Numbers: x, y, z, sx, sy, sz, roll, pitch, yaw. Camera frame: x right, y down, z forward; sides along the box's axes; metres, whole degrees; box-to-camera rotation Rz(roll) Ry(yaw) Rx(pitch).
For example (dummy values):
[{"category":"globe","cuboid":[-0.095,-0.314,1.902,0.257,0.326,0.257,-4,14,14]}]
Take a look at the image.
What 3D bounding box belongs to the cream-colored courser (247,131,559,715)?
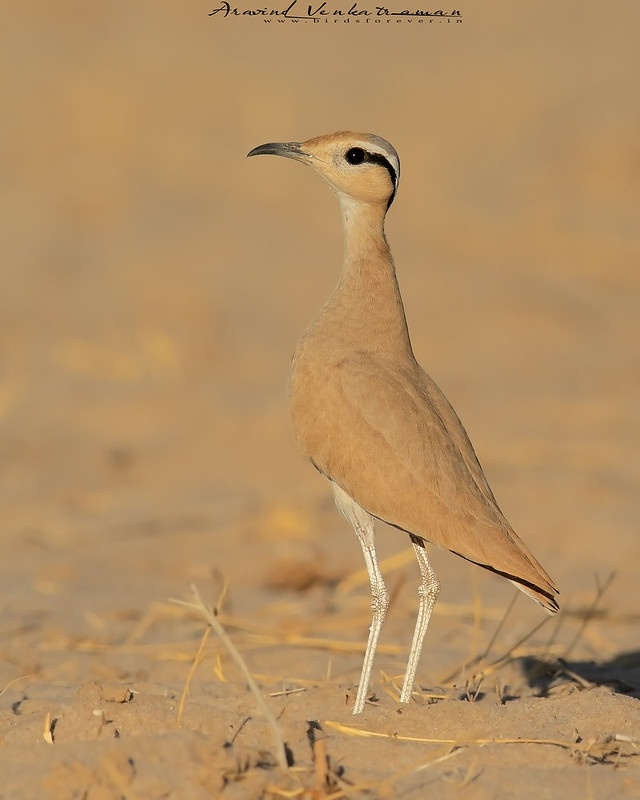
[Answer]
[{"category":"cream-colored courser","cuboid":[0.269,0.029,3.971,1.074,2.035,0.574,0,0,42]}]
